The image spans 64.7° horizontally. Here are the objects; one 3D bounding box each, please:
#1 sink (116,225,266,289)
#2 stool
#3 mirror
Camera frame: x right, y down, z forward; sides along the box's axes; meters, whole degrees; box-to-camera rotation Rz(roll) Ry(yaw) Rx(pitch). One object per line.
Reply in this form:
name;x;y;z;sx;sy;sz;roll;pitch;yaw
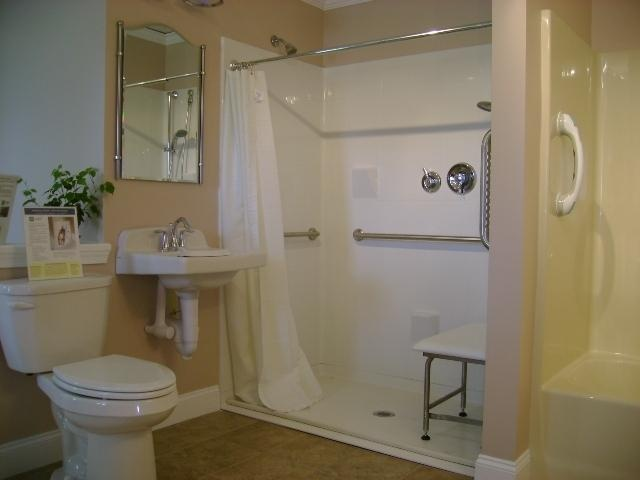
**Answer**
sink;-0.815;0.118;2.912;0.430;0.267;0.511;1;3;26
stool;0.850;0.715;3.196;0.469;0.576;0.828;-1;-1;25
mirror;-0.975;-0.832;3.096;0.032;0.946;0.606;5;8;44
